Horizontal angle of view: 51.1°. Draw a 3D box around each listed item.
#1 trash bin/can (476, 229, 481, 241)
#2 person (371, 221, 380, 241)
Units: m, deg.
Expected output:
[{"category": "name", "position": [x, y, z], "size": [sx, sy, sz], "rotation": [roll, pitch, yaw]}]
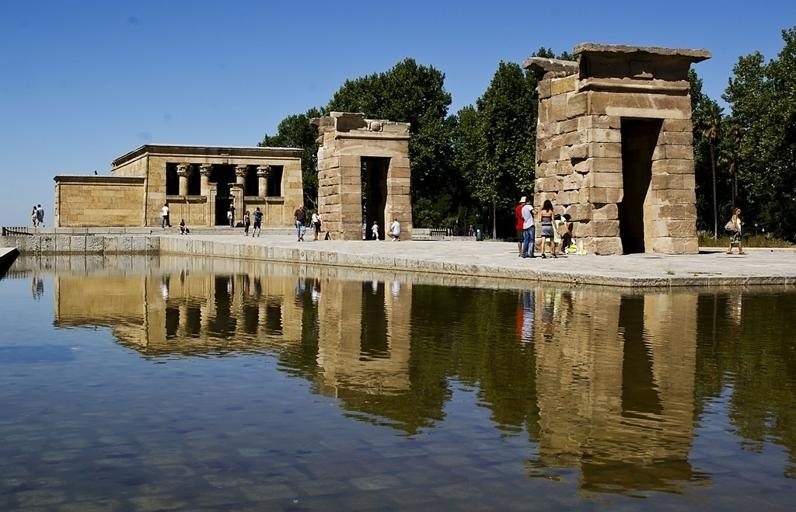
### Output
[{"category": "trash bin/can", "position": [4.908, -1.313, 50.504], "size": [0.275, 0.611, 0.752], "rotation": [0, 7, -3]}, {"category": "person", "position": [-1.147, -1.285, 41.864], "size": [0.381, 0.797, 1.075], "rotation": [0, 7, -2]}]
